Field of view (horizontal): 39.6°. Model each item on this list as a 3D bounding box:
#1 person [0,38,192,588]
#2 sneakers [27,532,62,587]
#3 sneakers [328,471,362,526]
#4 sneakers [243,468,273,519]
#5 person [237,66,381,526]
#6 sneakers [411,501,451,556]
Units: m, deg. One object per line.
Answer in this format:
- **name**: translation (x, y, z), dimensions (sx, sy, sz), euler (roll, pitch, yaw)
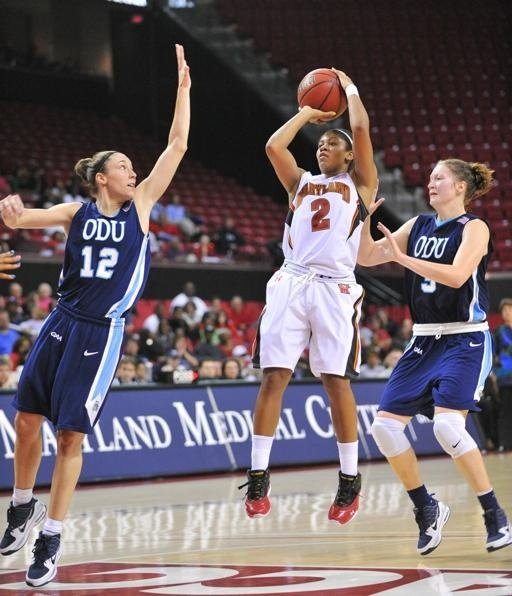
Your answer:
- **person**: translation (-0.858, 0.160, 3.276), dimensions (0.560, 2.217, 1.369), euler (10, 14, 11)
- **sneakers**: translation (-0.858, 1.079, 2.940), dimensions (0.097, 0.101, 0.250), euler (-5, 25, 3)
- **sneakers**: translation (0.422, 1.003, 3.645), dimensions (0.132, 0.137, 0.315), euler (-1, 41, 26)
- **sneakers**: translation (0.012, 0.957, 3.513), dimensions (0.142, 0.100, 0.260), euler (-1, 16, 7)
- **person**: translation (0.304, 0.009, 3.635), dimensions (0.694, 2.193, 0.855), euler (7, 14, -2)
- **sneakers**: translation (0.847, 1.125, 3.485), dimensions (0.110, 0.152, 0.309), euler (-37, 17, 48)
